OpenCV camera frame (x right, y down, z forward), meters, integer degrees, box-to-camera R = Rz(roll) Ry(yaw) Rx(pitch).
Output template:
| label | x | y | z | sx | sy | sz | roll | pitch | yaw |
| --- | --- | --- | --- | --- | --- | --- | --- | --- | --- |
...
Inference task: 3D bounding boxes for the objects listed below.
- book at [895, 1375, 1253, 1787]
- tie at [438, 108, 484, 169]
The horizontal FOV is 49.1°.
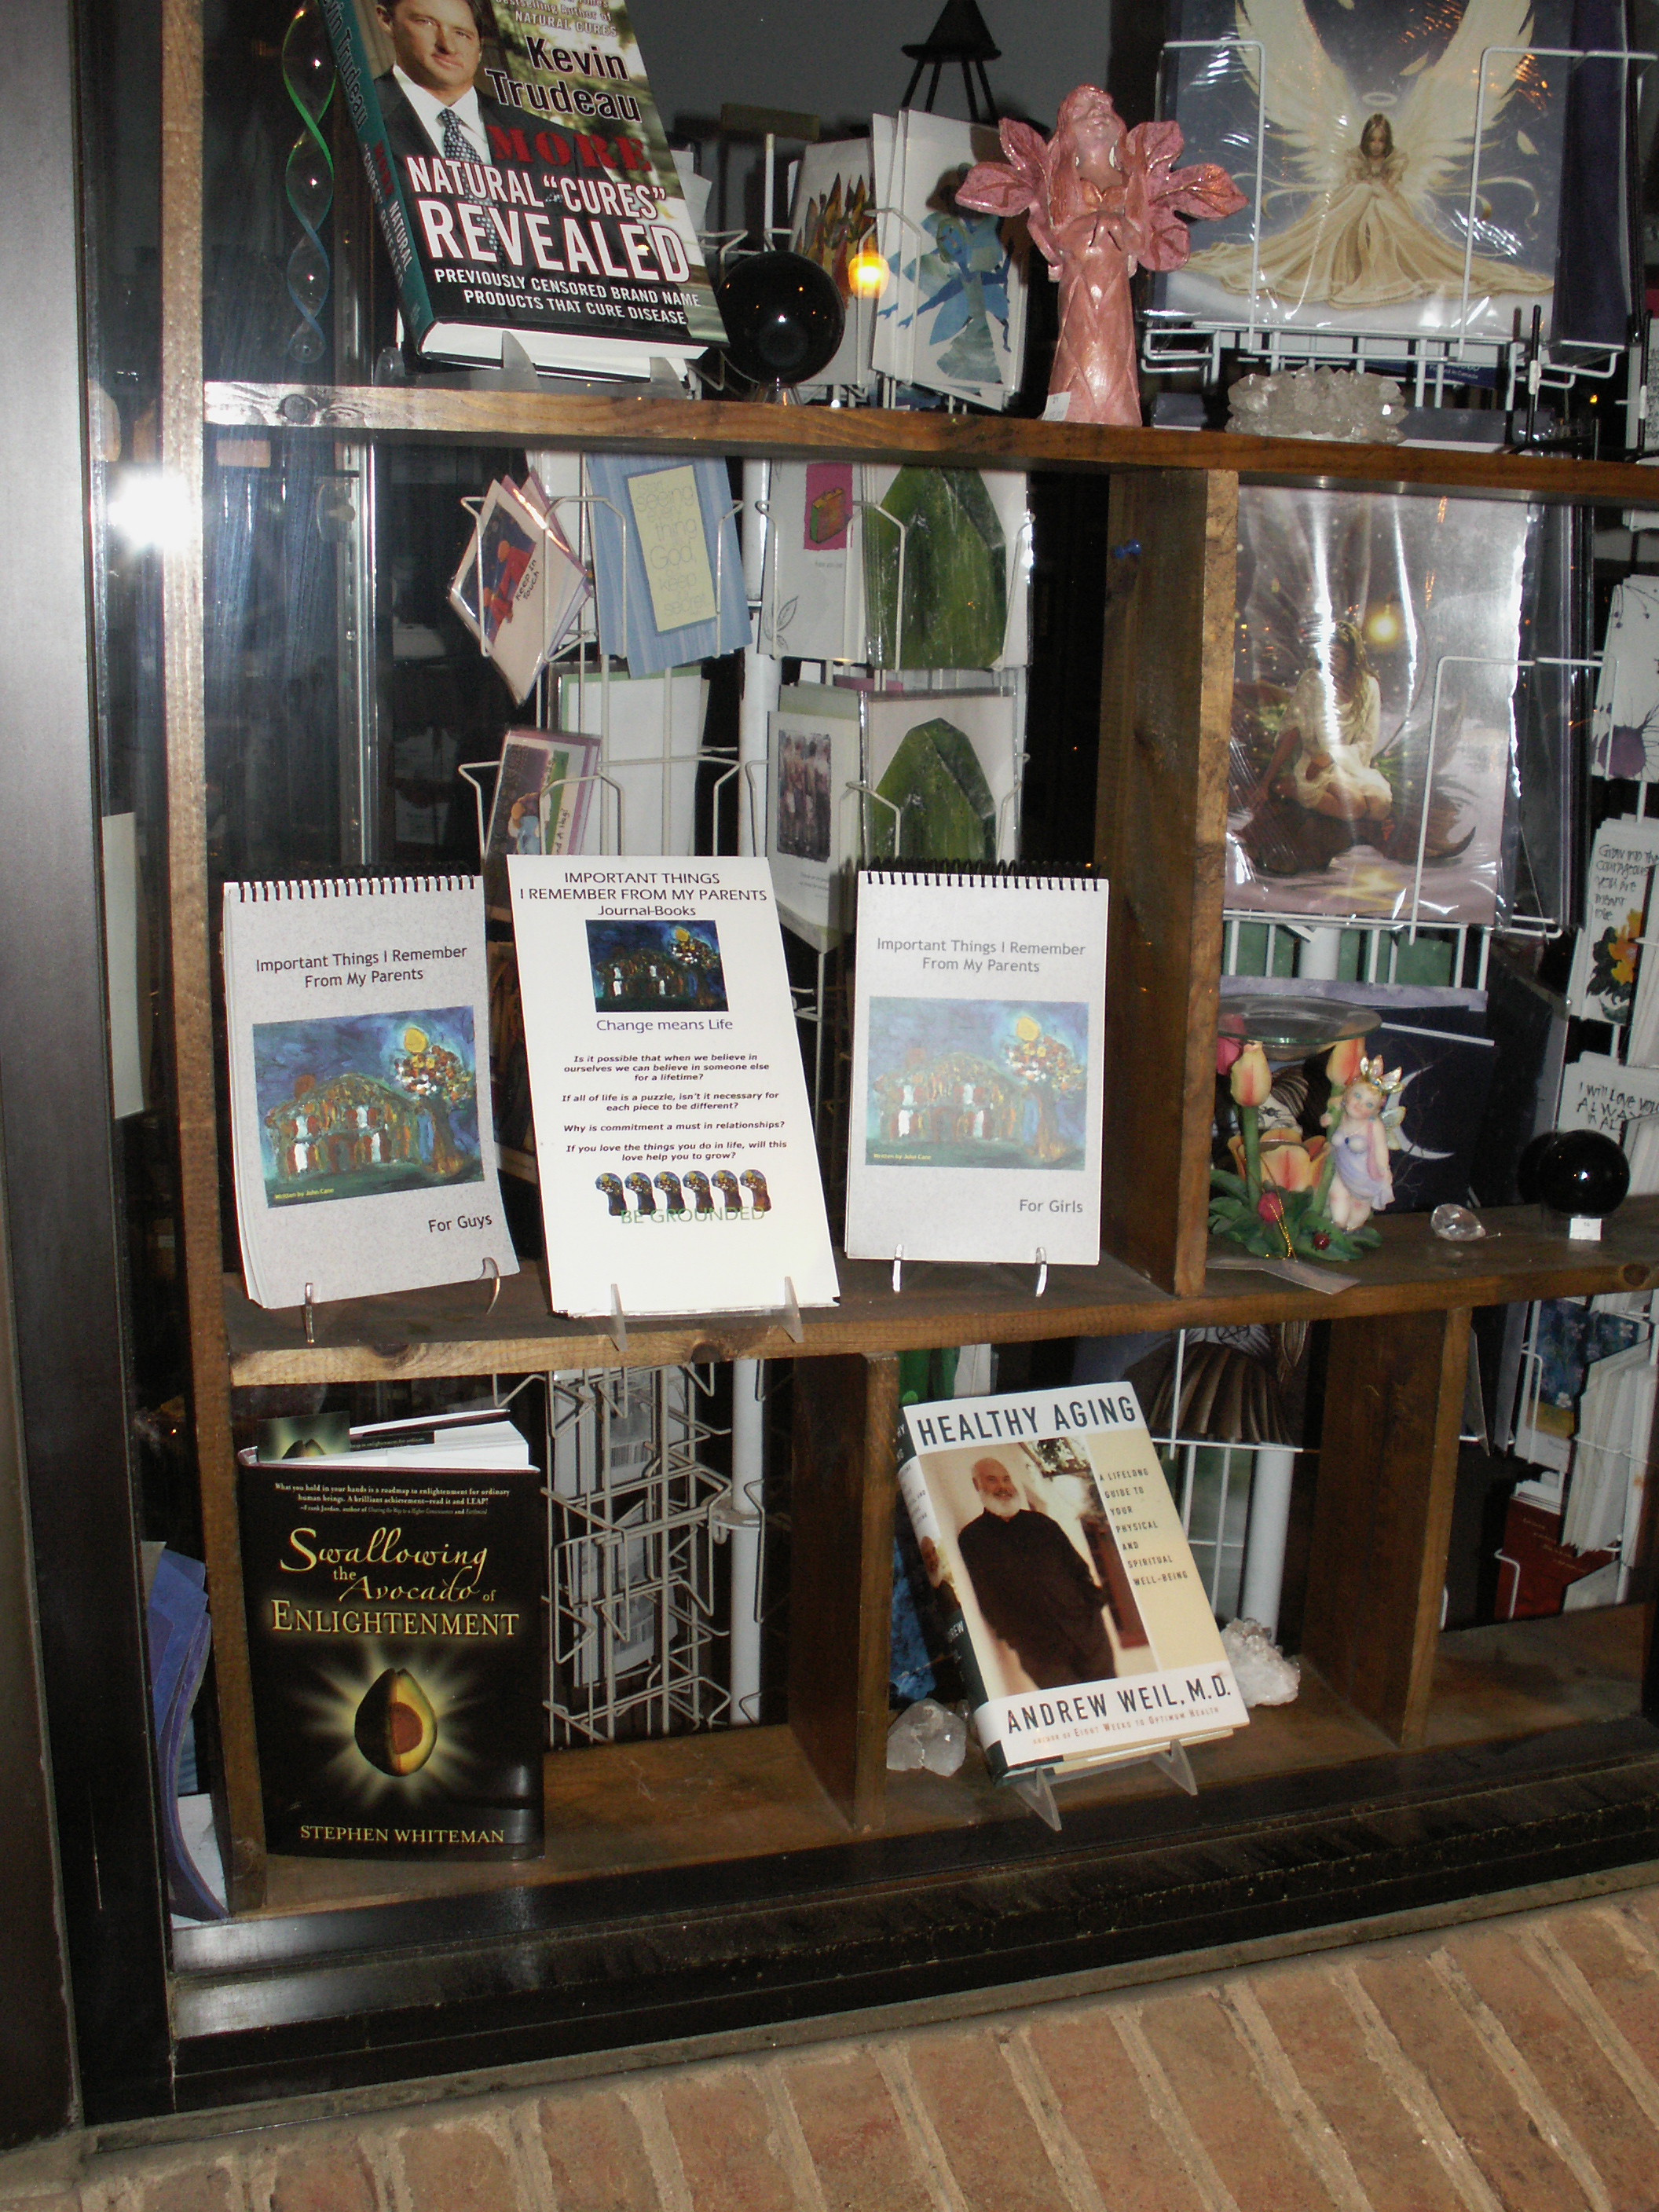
| label | x | y | z | sx | sy | sz | roll | pitch | yaw |
| --- | --- | --- | --- | --- | --- | --- | --- | --- | --- |
| book | 0.179 | 0.376 | 1.477 | 0.297 | 0.302 | 0.071 | -2 | -27 | -29 |
| tie | -0.264 | -0.680 | 1.286 | 0.027 | 0.038 | 0.014 | -5 | 14 | -18 |
